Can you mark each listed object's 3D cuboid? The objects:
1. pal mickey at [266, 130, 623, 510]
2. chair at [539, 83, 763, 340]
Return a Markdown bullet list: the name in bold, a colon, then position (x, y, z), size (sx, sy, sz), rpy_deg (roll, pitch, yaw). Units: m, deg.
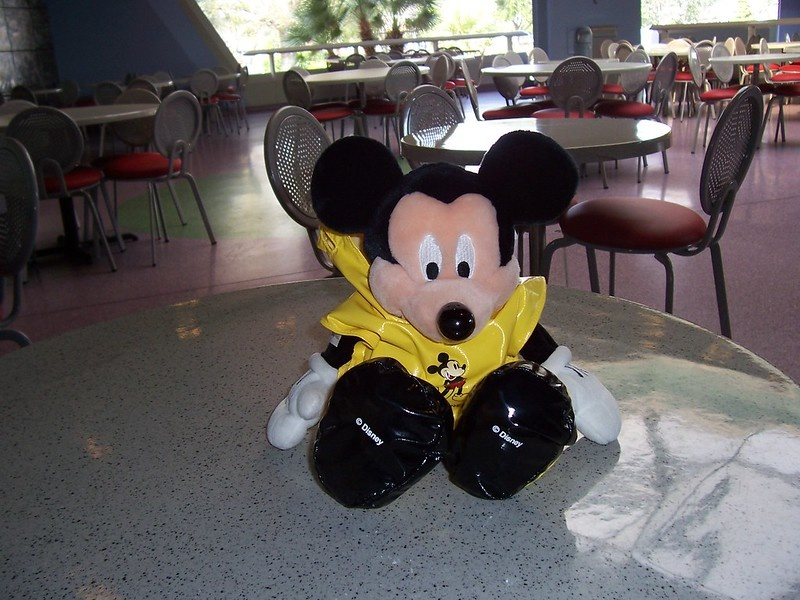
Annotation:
- **pal mickey**: position (0.062, 0.028, 0.785), size (0.450, 0.458, 0.306), rpy_deg (-1, 29, 0)
- **chair**: position (0.884, -0.275, 2.078), size (0.578, 0.972, 0.495), rpy_deg (16, 27, 41)
